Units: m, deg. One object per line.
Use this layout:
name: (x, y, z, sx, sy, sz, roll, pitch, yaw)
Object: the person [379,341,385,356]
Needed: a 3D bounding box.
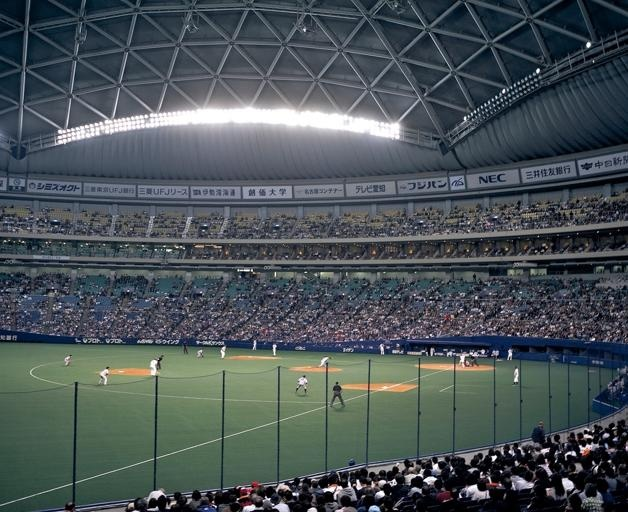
person: (8.395, 11.214, 92.385, 0.784, 1.338, 0.955, 3, 7, 0)
